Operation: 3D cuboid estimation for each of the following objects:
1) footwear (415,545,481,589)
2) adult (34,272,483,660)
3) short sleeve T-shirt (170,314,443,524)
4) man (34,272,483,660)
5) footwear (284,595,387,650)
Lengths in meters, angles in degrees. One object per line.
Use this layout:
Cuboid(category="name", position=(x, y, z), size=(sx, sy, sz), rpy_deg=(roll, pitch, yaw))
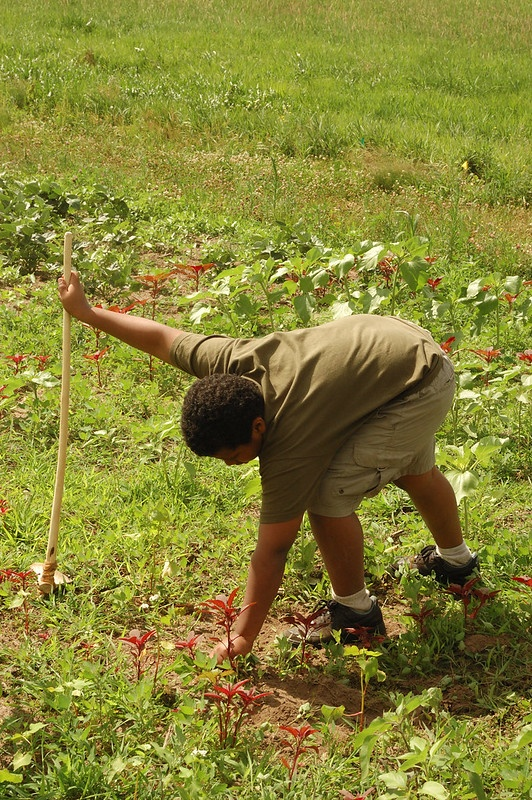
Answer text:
Cuboid(category="footwear", position=(0.590, 0.556, 3.099), size=(0.091, 0.103, 0.263), rpy_deg=(-32, 34, -32))
Cuboid(category="adult", position=(0.056, 0.140, 2.792), size=(1.140, 1.154, 0.734), rpy_deg=(-10, 9, -15))
Cuboid(category="short sleeve T-shirt", position=(0.150, 0.028, 2.663), size=(0.658, 0.197, 0.652), rpy_deg=(-33, 60, -12))
Cuboid(category="man", position=(0.059, 0.145, 2.780), size=(1.159, 1.125, 0.713), rpy_deg=(-10, 10, -14))
Cuboid(category="footwear", position=(0.150, 0.696, 2.807), size=(0.455, 0.162, 0.142), rpy_deg=(-3, 2, 12))
